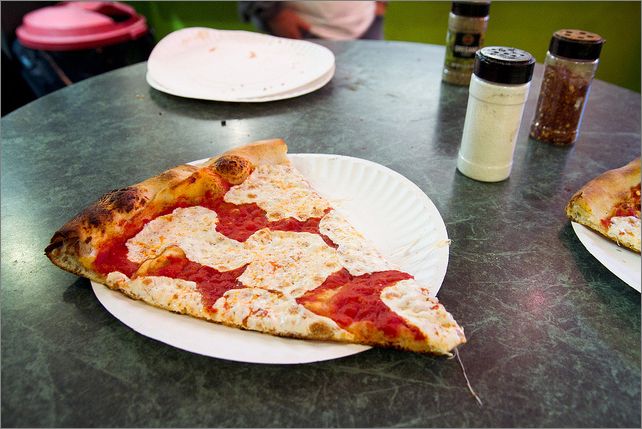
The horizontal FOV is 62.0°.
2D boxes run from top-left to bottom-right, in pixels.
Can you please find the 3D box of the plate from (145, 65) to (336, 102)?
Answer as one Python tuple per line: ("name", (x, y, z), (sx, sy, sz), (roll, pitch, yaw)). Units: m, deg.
("plate", (-0.259, -0.387, 1.666), (0.497, 0.034, 0.544), (0, 5, -25))
